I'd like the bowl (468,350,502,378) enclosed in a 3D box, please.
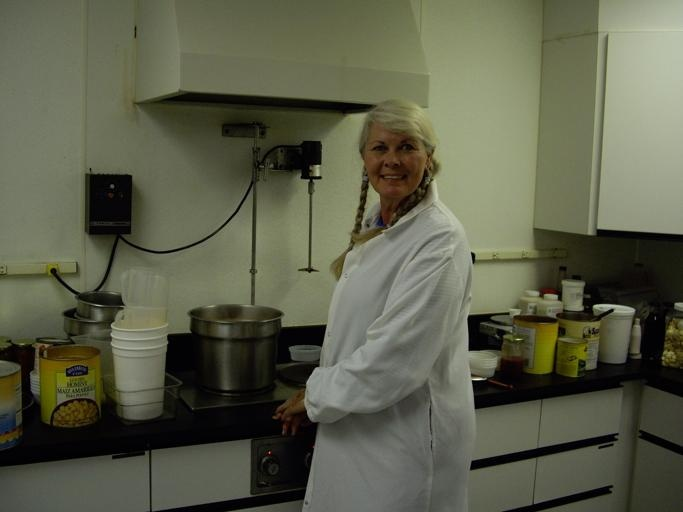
[{"bbox_3d":[0.609,0.468,2.559,0.104,0.072,0.138,0,-11,5],"label":"bowl"}]

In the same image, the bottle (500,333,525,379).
[{"bbox_3d":[0.749,0.442,2.605,0.100,0.177,0.108,-1,4,0],"label":"bottle"}]

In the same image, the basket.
[{"bbox_3d":[-0.689,0.469,2.060,0.176,0.082,0.174,-3,5,-45],"label":"basket"}]

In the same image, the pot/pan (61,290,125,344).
[{"bbox_3d":[-0.951,0.217,2.273,0.198,0.089,0.222,4,-1,-4],"label":"pot/pan"}]

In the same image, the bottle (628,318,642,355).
[{"bbox_3d":[1.421,0.401,2.848,0.059,0.191,0.037,-1,4,-2],"label":"bottle"}]

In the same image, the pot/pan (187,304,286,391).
[{"bbox_3d":[-0.422,0.349,2.289,0.335,0.255,0.316,4,6,39],"label":"pot/pan"}]
